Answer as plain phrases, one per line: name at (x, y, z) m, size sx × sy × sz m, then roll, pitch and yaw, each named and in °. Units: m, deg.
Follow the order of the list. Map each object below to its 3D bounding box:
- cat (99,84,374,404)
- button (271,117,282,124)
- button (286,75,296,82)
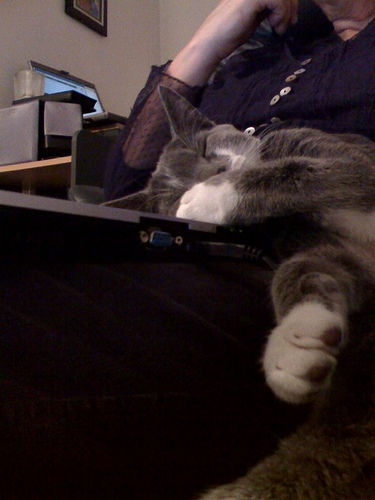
cat at (0.232, 0.018, 0.797) m, size 0.712 × 0.344 × 0.202 m, roll 8°, pitch -33°, yaw -27°
button at (0.140, -0.204, 0.775) m, size 0.015 × 0.013 × 0.003 m, roll 0°, pitch -15°, yaw 21°
button at (0.167, -0.277, 0.794) m, size 0.012 × 0.012 × 0.025 m, roll 1°, pitch 11°, yaw -8°
